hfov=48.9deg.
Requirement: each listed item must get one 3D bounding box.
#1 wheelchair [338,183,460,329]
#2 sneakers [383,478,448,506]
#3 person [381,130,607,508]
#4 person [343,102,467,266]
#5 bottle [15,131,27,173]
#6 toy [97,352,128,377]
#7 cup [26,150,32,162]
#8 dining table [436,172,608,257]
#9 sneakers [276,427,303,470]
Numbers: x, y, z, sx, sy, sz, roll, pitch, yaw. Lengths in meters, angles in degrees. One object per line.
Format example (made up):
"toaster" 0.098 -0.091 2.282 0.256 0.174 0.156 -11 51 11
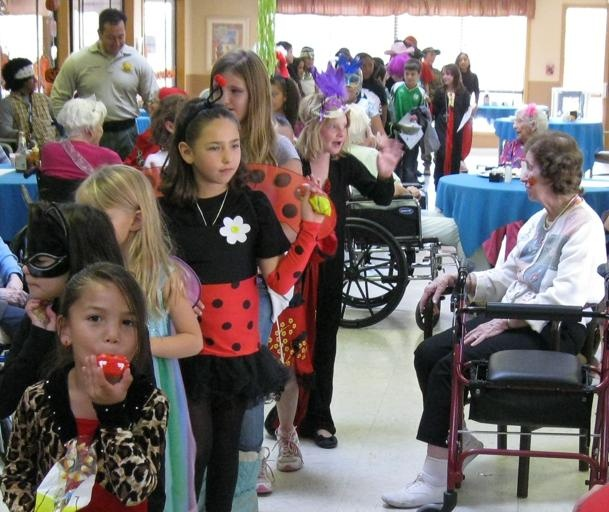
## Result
"wheelchair" 0.629 -0.083 5.267 1.049 1.469 0.962 0 11 5
"sneakers" 0.427 0.911 2.602 0.264 0.119 0.098 -2 0 8
"person" 1.067 0.250 3.657 1.346 2.372 1.045 1 -2 1
"person" 0.662 -0.415 4.883 1.034 1.054 0.604 -1 21 -15
"bottle" -2.215 -0.819 5.218 0.096 0.265 0.942 -5 13 -23
"toy" -0.368 0.209 1.286 0.067 0.064 0.038 1 -9 -18
"cup" -2.037 -0.744 4.953 0.030 0.069 0.146 -4 12 -19
"dining table" 1.370 -0.364 5.042 0.754 0.425 0.774 -2 3 -5
"sneakers" -0.063 0.843 2.905 0.076 0.093 0.212 -1 6 -2
